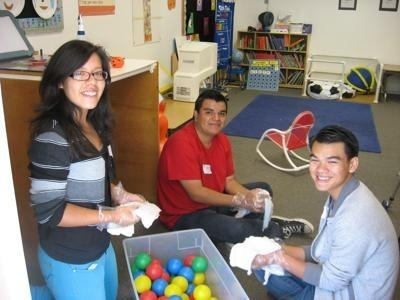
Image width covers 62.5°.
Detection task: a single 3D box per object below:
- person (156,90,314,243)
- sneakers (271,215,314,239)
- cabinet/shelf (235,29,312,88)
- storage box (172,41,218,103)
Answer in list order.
[{"bbox_3d":[0.326,0.192,2.714,1.281,1.327,0.912,3,15,14],"label":"person"},{"bbox_3d":[0.841,0.672,2.931,0.419,0.157,0.175,4,12,19],"label":"sneakers"},{"bbox_3d":[1.849,-2.317,8.334,1.653,1.383,0.656,6,18,17],"label":"cabinet/shelf"},{"bbox_3d":[-0.125,-1.394,5.710,0.611,1.135,1.262,8,26,19],"label":"storage box"}]
